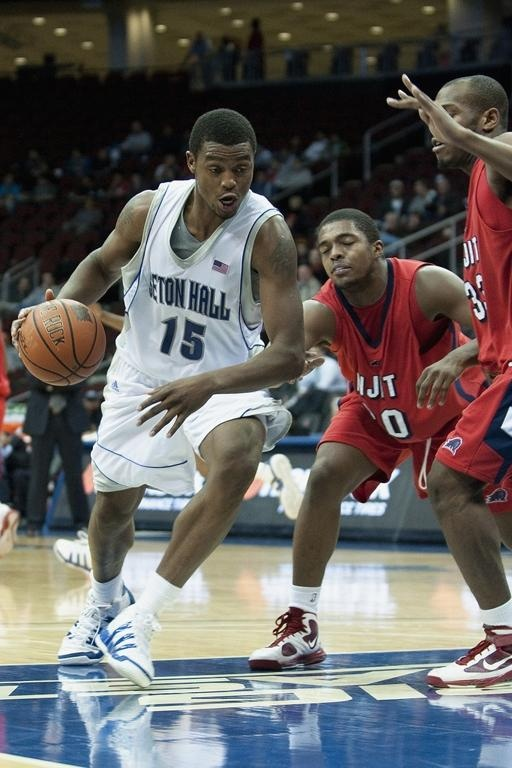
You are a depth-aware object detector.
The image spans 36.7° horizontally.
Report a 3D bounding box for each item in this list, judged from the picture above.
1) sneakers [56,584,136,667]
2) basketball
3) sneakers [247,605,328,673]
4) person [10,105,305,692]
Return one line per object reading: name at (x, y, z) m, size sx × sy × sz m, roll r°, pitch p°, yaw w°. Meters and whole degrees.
sneakers at (-0.531, 0.782, 2.469) m, size 0.134 × 0.146 × 0.384 m, roll 9°, pitch 0°, yaw 7°
basketball at (-0.584, -0.144, 2.354) m, size 0.268 × 0.274 × 0.250 m, roll -14°, pitch -10°, yaw -17°
sneakers at (0.099, 0.826, 2.494) m, size 0.115 × 0.170 × 0.323 m, roll -19°, pitch -21°, yaw 39°
person at (-0.277, 0.073, 2.278) m, size 0.830 × 1.720 × 0.848 m, roll -13°, pitch 19°, yaw -40°
